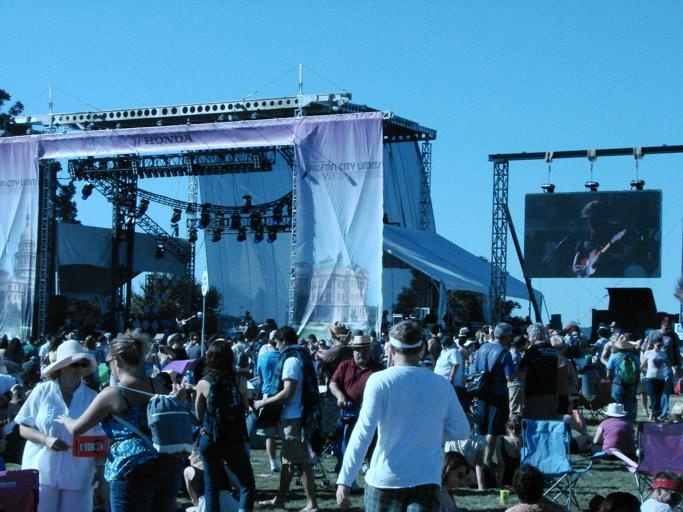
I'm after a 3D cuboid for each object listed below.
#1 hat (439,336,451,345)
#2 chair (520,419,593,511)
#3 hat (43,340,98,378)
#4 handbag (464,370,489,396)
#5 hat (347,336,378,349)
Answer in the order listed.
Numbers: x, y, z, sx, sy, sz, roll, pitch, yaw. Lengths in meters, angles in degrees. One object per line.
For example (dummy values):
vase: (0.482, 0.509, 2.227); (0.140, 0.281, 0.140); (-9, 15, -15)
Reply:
hat: (1.654, 1.341, 19.472); (0.171, 0.148, 0.164); (-1, -8, 25)
chair: (2.820, 2.917, 17.023); (1.009, 1.713, 1.151); (0, -14, -4)
hat: (-3.162, 1.193, 14.500); (0.464, 0.276, 0.485); (-12, -5, 17)
handbag: (1.908, 1.812, 17.593); (0.318, 0.360, 0.263); (3, 3, -41)
hat: (0.292, 1.149, 16.543); (0.303, 0.195, 0.372); (0, -7, -1)
